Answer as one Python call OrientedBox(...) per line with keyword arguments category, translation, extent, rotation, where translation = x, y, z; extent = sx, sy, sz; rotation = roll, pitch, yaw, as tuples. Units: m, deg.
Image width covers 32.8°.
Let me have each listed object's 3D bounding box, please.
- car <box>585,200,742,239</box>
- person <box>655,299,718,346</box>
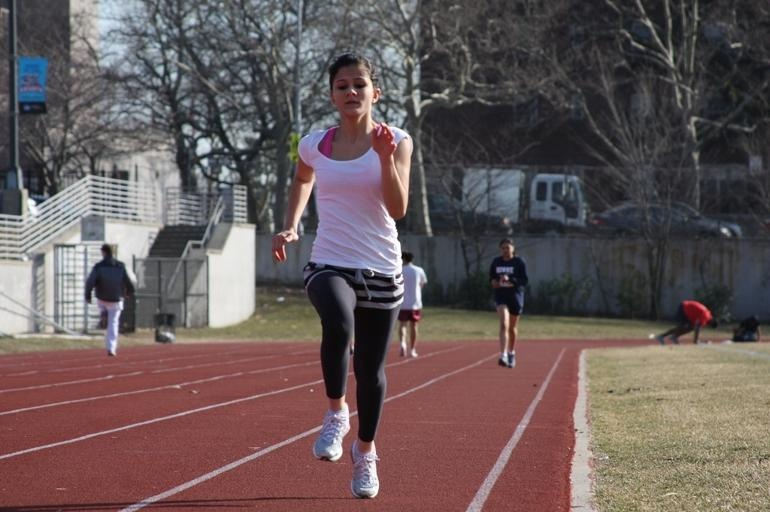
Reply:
OrientedBox(category="car", translation=(11.175, -1.456, 52.325), extent=(5.568, 1.286, 1.274), rotation=(0, 0, 3))
OrientedBox(category="person", translation=(9.996, 2.214, 43.120), extent=(1.981, 1.454, 1.200), rotation=(5, 2, 26))
